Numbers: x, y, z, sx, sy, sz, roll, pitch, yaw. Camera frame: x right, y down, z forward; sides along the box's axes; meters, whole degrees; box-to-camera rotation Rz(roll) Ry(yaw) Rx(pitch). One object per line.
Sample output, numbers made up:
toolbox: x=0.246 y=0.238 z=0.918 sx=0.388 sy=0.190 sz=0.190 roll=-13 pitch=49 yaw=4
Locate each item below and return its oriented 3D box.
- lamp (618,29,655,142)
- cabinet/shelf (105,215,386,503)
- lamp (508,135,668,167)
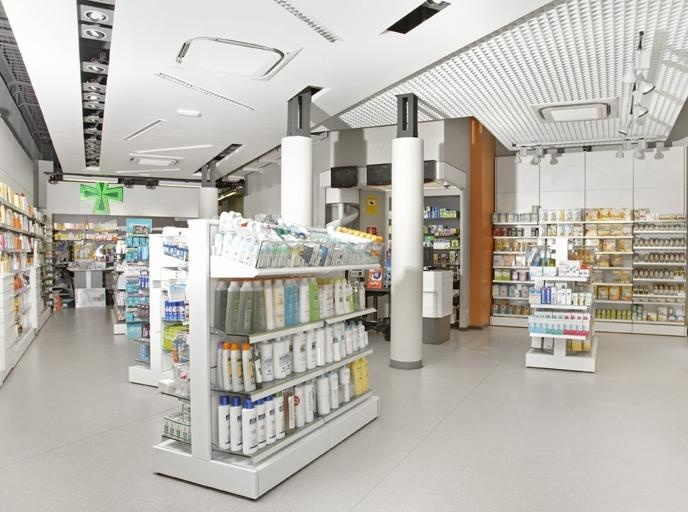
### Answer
lamp: x=4.126 y=-2.493 z=6.675 sx=0.350 sy=1.050 sz=0.344 roll=-31 pitch=38 yaw=-27
cabinet/shelf: x=-0.994 y=1.073 z=4.777 sx=1.581 sy=2.484 sz=2.802 roll=-1 pitch=0 yaw=25
lamp: x=5.627 y=-2.351 z=10.873 sx=3.297 sy=0.571 sz=1.386 roll=-1 pitch=2 yaw=20
